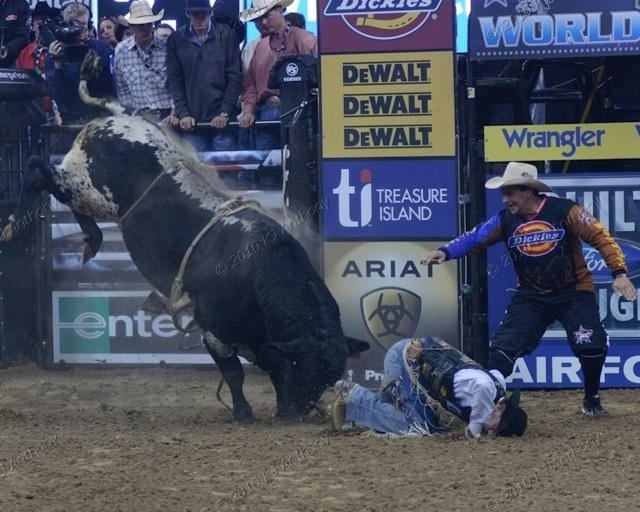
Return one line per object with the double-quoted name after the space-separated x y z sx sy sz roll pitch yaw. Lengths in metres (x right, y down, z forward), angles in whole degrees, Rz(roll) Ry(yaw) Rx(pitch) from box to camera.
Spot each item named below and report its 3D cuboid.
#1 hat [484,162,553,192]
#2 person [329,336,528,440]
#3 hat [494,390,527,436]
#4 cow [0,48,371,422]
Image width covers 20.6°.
1.891 -0.697 16.312 0.443 0.156 0.336 6 -3 -26 "hat"
1.070 1.270 16.152 1.787 0.845 0.739 6 8 21 "person"
1.730 1.409 15.907 0.299 0.420 0.169 -5 7 -43 "hat"
-1.104 0.121 16.670 2.872 2.843 0.665 2 6 25 "cow"
